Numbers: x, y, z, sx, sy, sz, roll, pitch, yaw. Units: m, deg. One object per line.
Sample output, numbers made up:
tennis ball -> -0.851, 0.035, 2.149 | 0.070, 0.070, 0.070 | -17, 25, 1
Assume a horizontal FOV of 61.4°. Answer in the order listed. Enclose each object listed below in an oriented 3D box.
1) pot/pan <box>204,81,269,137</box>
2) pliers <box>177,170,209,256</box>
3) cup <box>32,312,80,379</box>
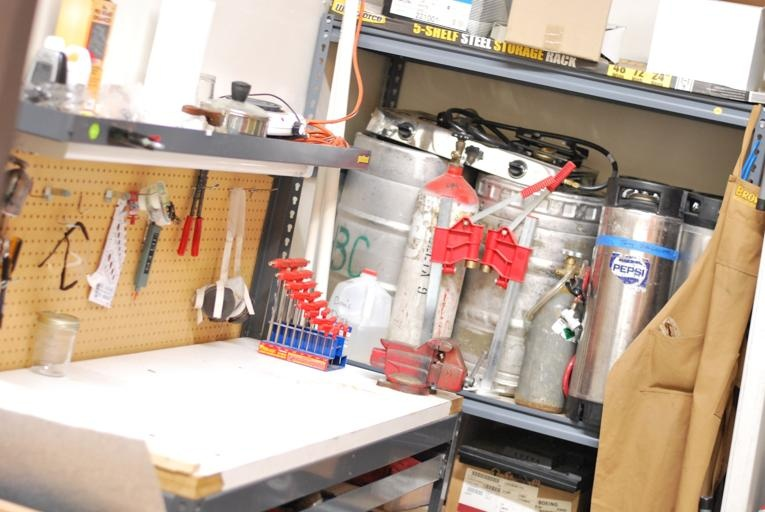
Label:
pot/pan -> -0.367, -0.373, 1.622 | 0.156, 0.134, 0.131 | 11, 17, 36
pliers -> -0.548, -0.124, 1.924 | 0.046, 0.265, 0.101 | 15, 7, 16
cup -> -0.782, 0.210, 1.594 | 0.104, 0.155, 0.120 | 13, 0, 28
